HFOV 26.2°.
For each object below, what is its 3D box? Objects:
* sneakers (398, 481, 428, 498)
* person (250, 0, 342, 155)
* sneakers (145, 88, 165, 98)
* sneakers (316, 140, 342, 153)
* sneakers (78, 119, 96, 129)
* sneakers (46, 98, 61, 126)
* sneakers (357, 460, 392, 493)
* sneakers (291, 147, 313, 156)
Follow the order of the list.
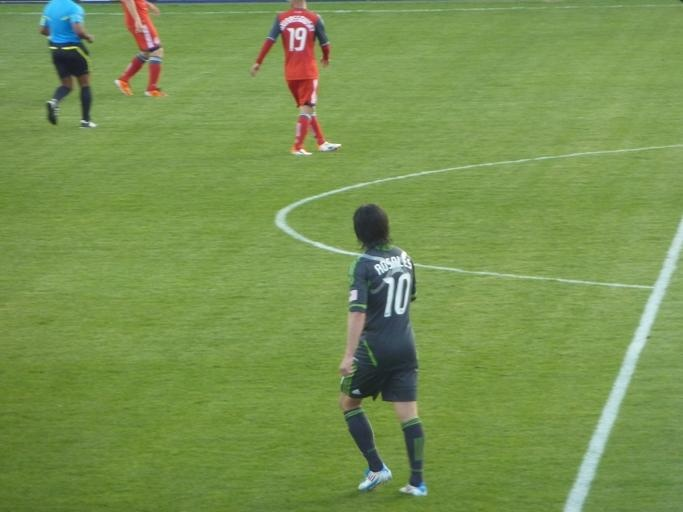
[{"bbox_3d":[0.619,1.951,12.316,0.255,0.071,0.087,1,3,25],"label":"sneakers"},{"bbox_3d":[-0.510,-2.282,19.112,0.953,2.125,0.636,7,29,9],"label":"person"},{"bbox_3d":[-2.869,-2.523,22.672,0.288,0.085,0.117,-2,24,0],"label":"sneakers"},{"bbox_3d":[-0.192,-1.478,19.649,0.401,0.127,0.106,-2,27,3],"label":"sneakers"},{"bbox_3d":[-3.541,-1.849,20.565,0.236,0.079,0.095,-13,19,-43],"label":"sneakers"},{"bbox_3d":[-3.953,-1.958,20.033,0.184,0.392,0.208,7,28,22],"label":"sneakers"},{"bbox_3d":[0.236,1.871,12.430,0.399,0.176,0.129,-29,13,4],"label":"sneakers"},{"bbox_3d":[-0.528,-1.387,19.510,0.325,0.096,0.086,0,23,1],"label":"sneakers"}]
